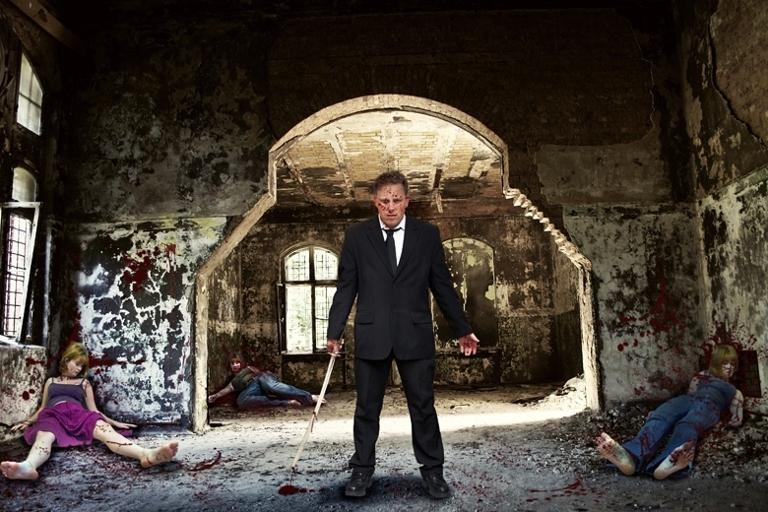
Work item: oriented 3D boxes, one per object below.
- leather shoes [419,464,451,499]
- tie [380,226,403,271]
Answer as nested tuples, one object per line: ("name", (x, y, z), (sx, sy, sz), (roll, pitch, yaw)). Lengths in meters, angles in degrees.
("leather shoes", (0.393, 1.754, 4.964), (0.160, 0.194, 0.418), (0, 0, -17))
("tie", (0.060, -0.046, 5.012), (0.132, 0.347, 0.064), (-1, -2, 1))
